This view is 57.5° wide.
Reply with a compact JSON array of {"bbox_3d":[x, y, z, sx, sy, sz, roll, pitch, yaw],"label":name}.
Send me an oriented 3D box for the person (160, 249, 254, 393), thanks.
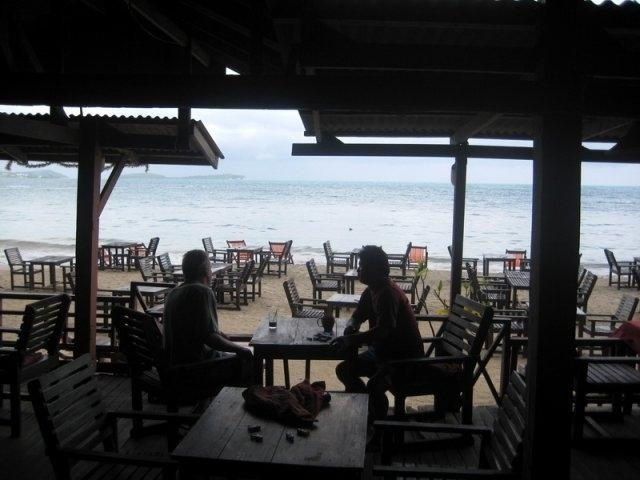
[{"bbox_3d":[-1.108,0.786,5.807,0.881,1.365,0.422,0,0,-15],"label":"person"}]
